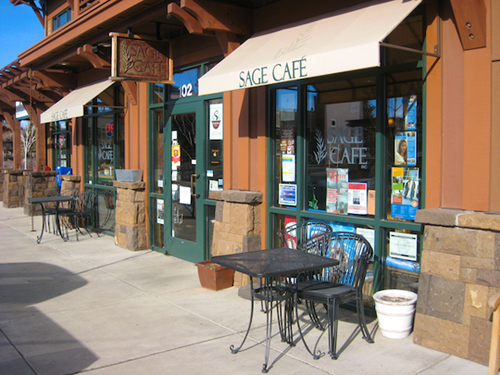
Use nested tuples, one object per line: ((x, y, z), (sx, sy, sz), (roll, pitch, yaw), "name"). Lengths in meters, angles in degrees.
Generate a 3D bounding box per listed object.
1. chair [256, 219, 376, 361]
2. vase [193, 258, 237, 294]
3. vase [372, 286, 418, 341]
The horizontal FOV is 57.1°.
((0.788, 1.153, 5.742), (1.148, 1.671, 1.238), (2, -2, -42), "chair")
((-0.559, 1.279, 6.957), (0.443, 0.380, 0.569), (0, 1, -30), "vase")
((1.632, 1.456, 5.325), (0.480, 0.409, 0.483), (0, 1, -6), "vase")
